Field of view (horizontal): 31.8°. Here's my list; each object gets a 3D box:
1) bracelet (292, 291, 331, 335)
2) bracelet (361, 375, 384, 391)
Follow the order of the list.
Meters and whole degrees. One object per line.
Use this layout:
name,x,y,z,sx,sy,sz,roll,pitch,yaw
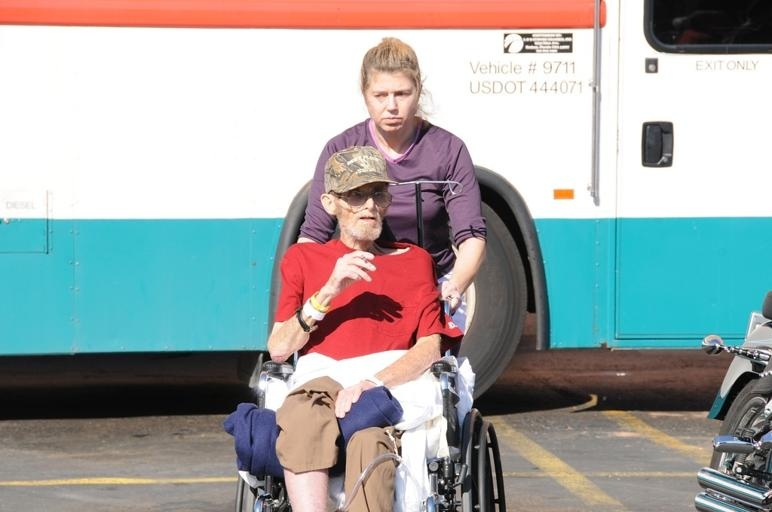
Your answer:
bracelet,-0.536,0.426,9.649,0.207,0.132,0.277,-45,-2,-9
bracelet,-0.098,0.907,9.544,0.176,0.084,0.146,0,9,1
